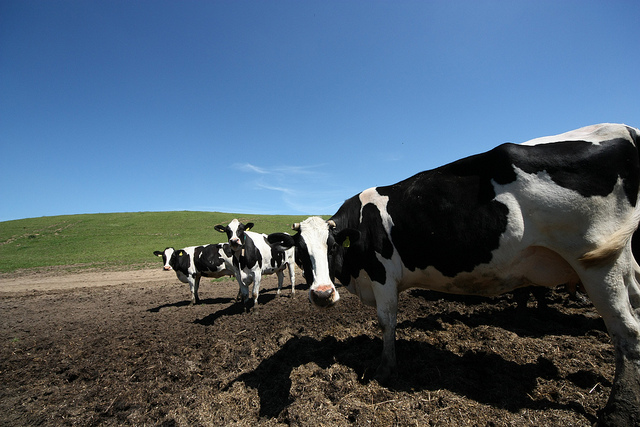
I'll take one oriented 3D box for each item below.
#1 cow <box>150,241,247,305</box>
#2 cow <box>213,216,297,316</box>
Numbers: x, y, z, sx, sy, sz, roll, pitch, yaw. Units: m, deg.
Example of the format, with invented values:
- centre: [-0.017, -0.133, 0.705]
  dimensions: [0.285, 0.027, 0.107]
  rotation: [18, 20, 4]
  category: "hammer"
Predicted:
- centre: [-4.407, 2.354, 14.926]
  dimensions: [4.240, 2.322, 1.405]
  rotation: [-6, -3, 17]
  category: "cow"
- centre: [-2.258, 1.797, 14.484]
  dimensions: [1.670, 3.696, 5.545]
  rotation: [-10, -20, 20]
  category: "cow"
